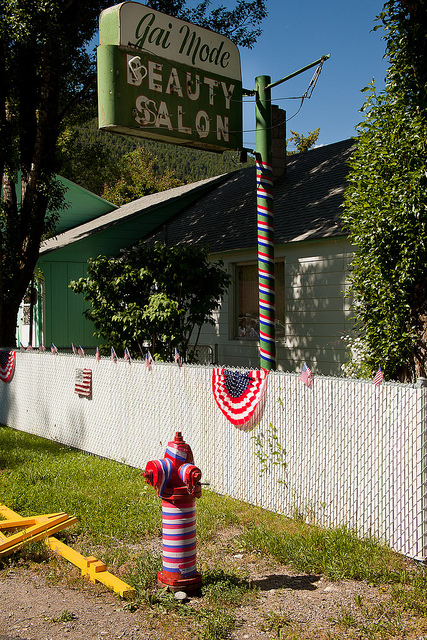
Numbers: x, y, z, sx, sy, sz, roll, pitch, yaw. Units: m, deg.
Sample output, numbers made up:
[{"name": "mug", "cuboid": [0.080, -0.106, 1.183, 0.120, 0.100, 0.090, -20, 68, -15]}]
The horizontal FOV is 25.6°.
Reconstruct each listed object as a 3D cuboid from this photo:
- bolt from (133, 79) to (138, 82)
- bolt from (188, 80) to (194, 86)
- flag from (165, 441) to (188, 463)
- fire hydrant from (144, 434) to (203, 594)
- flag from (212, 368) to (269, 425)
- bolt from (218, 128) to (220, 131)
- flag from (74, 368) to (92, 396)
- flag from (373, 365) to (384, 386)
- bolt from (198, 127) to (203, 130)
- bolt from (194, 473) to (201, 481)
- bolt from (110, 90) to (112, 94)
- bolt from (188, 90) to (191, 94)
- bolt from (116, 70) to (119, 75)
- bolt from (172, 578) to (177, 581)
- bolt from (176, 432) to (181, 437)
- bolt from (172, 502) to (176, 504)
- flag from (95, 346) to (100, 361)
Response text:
[{"name": "bolt", "cuboid": [-0.958, -2.916, 11.494, 0.055, 0.030, 0.002, -11, 13, -38]}, {"name": "bolt", "cuboid": [-0.302, -3.033, 12.076, 0.055, 0.060, 0.015, 0, 0, -39]}, {"name": "flag", "cuboid": [-0.302, 1.053, 7.519, 0.108, 0.162, 0.147, 8, 8, 29]}, {"name": "fire hydrant", "cuboid": [-0.305, 1.552, 7.434, 0.439, 1.171, 0.464, -6, 10, -22]}, {"name": "flag", "cuboid": [0.220, 0.777, 9.565, 0.683, 0.572, 0.053, 2, -7, 37]}, {"name": "bolt", "cuboid": [0.059, -2.489, 12.330, 0.024, 0.033, 0.009, -10, 13, -38]}, {"name": "flag", "cuboid": [-1.708, 0.828, 12.341, 0.055, 0.383, 0.327, 3, -3, -34]}, {"name": "flag", "cuboid": [1.417, 0.472, 8.185, 0.075, 0.171, 0.334, 0, 11, 10]}, {"name": "bolt", "cuboid": [-0.178, -2.454, 12.100, 0.015, 0.024, 0.076, 6, 15, 40]}, {"name": "bolt", "cuboid": [-0.131, 1.240, 7.384, 0.046, 0.056, 0.014, -4, 6, -25]}, {"name": "bolt", "cuboid": [-1.239, -2.727, 11.340, 0.015, 0.032, 0.017, 11, 32, 24]}, {"name": "bolt", "cuboid": [-0.317, -2.910, 12.056, 0.032, 0.040, 0.025, -3, 10, -2]}, {"name": "bolt", "cuboid": [-1.164, -2.982, 11.360, 0.031, 0.071, 0.036, -5, 4, 19]}, {"name": "bolt", "cuboid": [-0.307, 2.038, 7.335, 0.036, 0.007, 0.013, 0, 12, 15]}, {"name": "bolt", "cuboid": [-0.290, 0.926, 7.537, 0.035, 0.030, 0.037, 1, 2, -26]}, {"name": "bolt", "cuboid": [-0.312, 1.448, 7.385, 0.021, 0.012, 0.007, -2, 10, 1]}, {"name": "flag", "cuboid": [-1.592, 0.478, 12.871, 0.056, 0.281, 0.074, -17, -23, 37]}]
